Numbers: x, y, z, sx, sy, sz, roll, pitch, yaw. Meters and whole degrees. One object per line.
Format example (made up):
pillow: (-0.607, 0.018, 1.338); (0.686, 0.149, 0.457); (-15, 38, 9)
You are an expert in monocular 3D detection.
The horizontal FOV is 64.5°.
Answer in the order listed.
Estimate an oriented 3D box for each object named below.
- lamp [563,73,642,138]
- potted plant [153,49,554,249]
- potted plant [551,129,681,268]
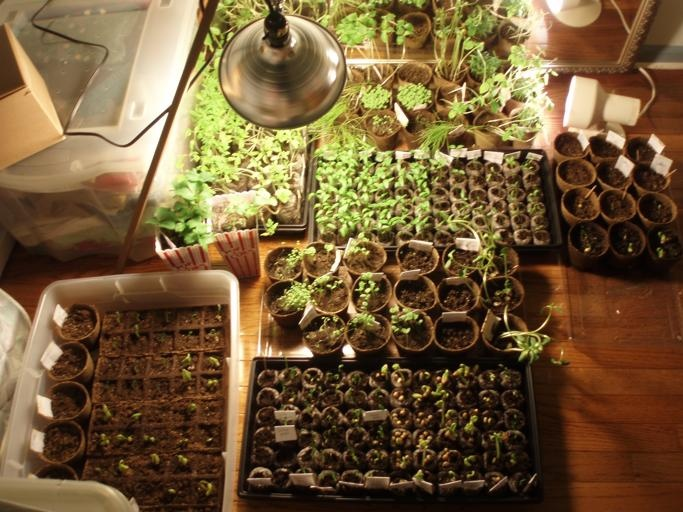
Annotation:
lamp: (1.770, -1.007, 3.736); (0.523, 0.360, 0.271); (10, 63, 5)
potted plant: (0.258, -0.867, 3.443); (2.775, 0.558, 1.374); (-2, 74, 0)
potted plant: (1.801, -0.348, 3.559); (0.797, 0.307, 0.954); (5, 59, 7)
